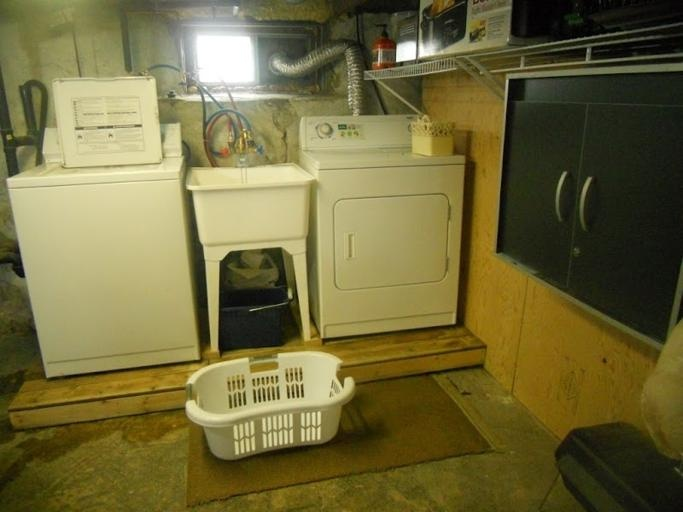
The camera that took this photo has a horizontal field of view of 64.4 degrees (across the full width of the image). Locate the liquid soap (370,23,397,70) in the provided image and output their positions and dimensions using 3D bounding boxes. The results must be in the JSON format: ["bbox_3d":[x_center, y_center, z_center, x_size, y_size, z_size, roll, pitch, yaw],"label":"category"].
[{"bbox_3d":[0.265,-1.282,3.379,0.143,0.220,0.126,-3,20,2],"label":"liquid soap"}]

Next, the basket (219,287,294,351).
[{"bbox_3d":[-0.518,0.357,3.294,0.421,0.275,0.329,-1,12,-10],"label":"basket"}]

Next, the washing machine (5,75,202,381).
[{"bbox_3d":[-1.302,-0.182,3.053,0.864,1.557,0.626,-8,20,-13],"label":"washing machine"}]

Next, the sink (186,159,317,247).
[{"bbox_3d":[-0.522,-0.314,3.111,0.651,0.317,0.524,-2,21,-11],"label":"sink"}]

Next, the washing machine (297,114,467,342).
[{"bbox_3d":[0.248,-0.114,3.194,1.105,1.583,0.872,-4,16,-12],"label":"washing machine"}]
